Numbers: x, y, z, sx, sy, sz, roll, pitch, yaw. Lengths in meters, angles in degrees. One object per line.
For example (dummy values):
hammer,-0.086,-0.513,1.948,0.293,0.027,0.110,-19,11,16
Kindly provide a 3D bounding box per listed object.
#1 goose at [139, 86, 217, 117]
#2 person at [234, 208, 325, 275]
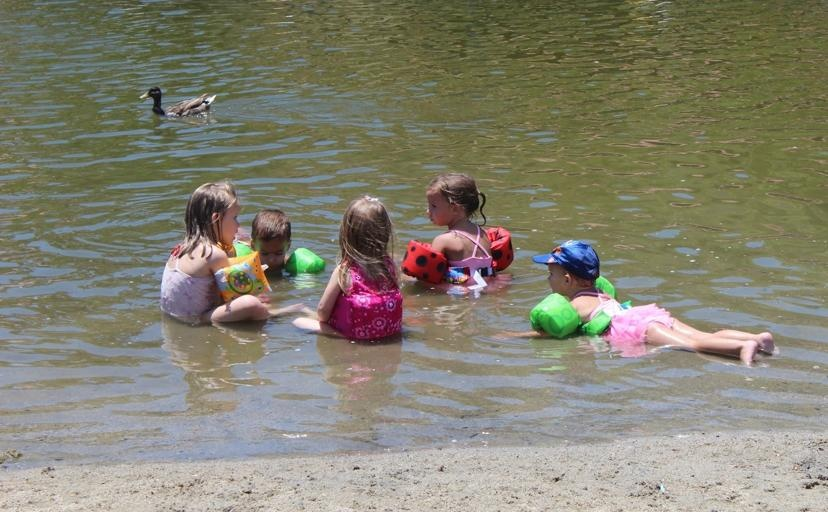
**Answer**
goose,-4.909,-3.191,18.937,1.617,0.615,0.858,12,26,37
person,-1.838,-0.193,12.469,1.678,0.501,1.118,-2,14,-7
